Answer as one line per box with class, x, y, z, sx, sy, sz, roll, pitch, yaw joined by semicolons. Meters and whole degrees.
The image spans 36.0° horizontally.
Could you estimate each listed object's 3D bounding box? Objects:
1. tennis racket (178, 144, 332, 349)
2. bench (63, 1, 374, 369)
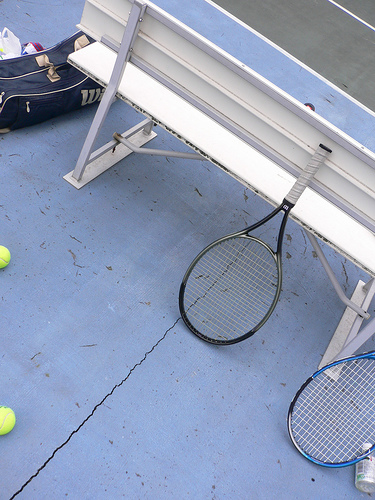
tennis racket;0.373;0.014;3.131;0.427;1.298;0.071;41;0;19
bench;0.241;-0.427;3.130;2.065;1.212;0.960;32;30;3
